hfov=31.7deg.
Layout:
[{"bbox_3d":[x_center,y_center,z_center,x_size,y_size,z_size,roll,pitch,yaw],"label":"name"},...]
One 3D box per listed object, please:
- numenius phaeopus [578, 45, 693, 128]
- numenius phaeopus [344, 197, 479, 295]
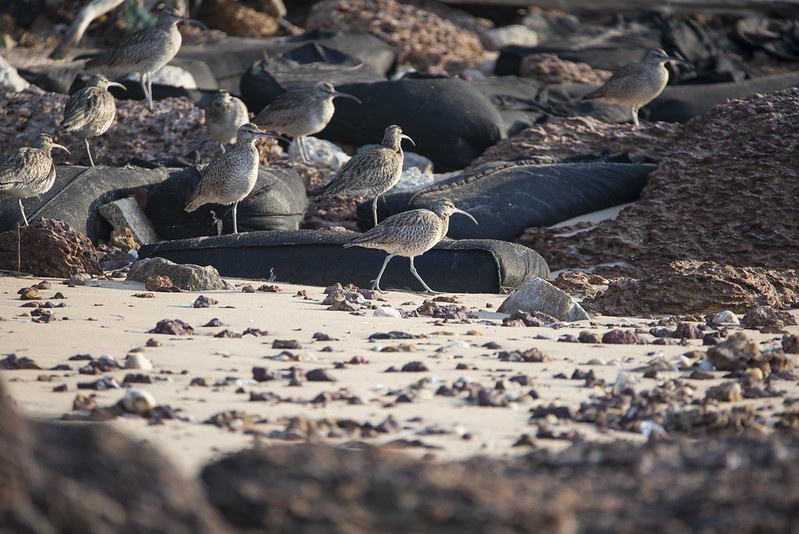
[{"bbox_3d":[3.160,-2.418,18.981,0.746,0.956,1.538,-15,21,-42],"label":"numenius phaeopus"},{"bbox_3d":[0.137,-0.232,15.186,1.754,0.964,0.532,0,-1,-29],"label":"numenius phaeopus"}]
